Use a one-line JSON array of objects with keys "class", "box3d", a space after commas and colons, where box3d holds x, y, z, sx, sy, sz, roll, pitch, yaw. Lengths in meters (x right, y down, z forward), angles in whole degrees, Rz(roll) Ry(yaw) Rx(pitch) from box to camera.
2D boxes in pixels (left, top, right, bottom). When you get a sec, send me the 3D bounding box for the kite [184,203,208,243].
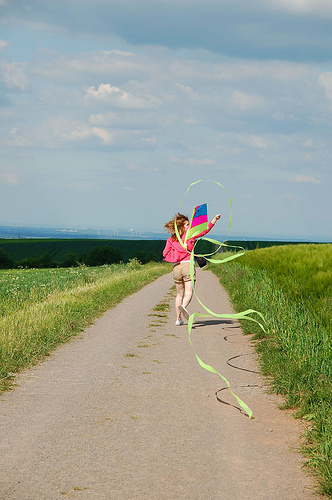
[{"class": "kite", "box3d": [0.540, -0.487, 9.976, 0.061, 0.515, 0.581, 11, -17, -34]}]
